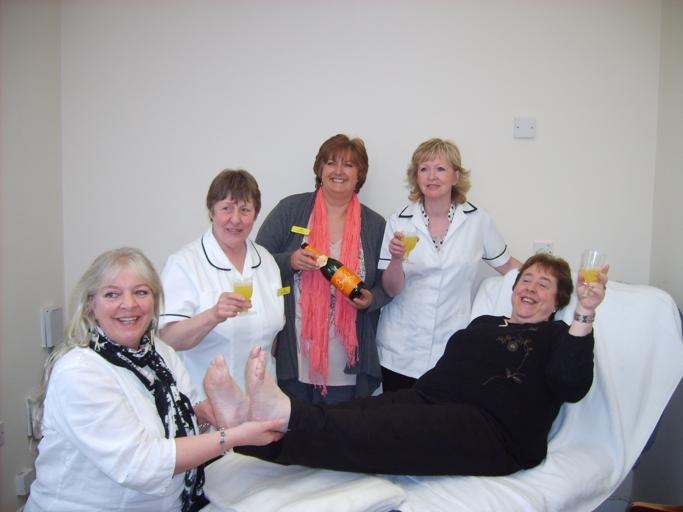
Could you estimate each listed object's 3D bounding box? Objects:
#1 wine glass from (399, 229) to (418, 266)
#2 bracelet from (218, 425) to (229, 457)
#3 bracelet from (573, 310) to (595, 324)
[{"bbox_3d":[0.334,-0.050,2.957,0.115,0.197,0.127,0,12,-1],"label":"wine glass"},{"bbox_3d":[-0.477,0.740,2.235,0.055,0.091,0.087,7,40,-7],"label":"bracelet"},{"bbox_3d":[1.128,0.290,2.607,0.066,0.034,0.064,11,5,-15],"label":"bracelet"}]
